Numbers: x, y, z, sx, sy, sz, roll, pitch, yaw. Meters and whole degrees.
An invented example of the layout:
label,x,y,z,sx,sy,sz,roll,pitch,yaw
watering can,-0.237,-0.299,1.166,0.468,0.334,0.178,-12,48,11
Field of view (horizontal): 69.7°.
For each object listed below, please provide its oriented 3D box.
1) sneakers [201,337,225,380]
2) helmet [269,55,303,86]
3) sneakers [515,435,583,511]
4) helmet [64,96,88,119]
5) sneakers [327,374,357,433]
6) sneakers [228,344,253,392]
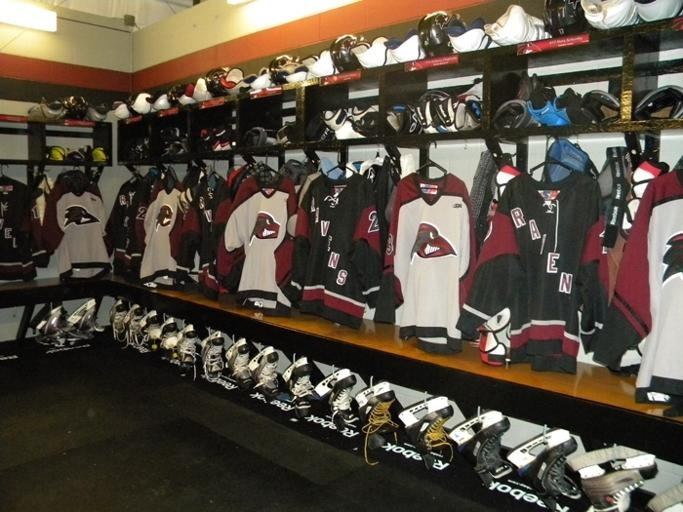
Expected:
label,x,y,z,sx,sy,sz,roll,pitch,yaw
sneakers,-1.082,0.829,4.101,0.140,0.412,0.176,2,8,-20
helmet,-0.423,-1.436,3.750,0.264,0.225,0.212,11,0,6
sneakers,1.086,1.089,2.603,0.281,0.407,0.273,-9,14,-37
helmet,-2.678,-1.503,4.943,0.172,0.231,0.084,-2,22,-14
sneakers,0.004,0.990,3.301,0.140,0.460,0.209,-14,53,-31
sneakers,-0.806,0.844,3.867,0.154,0.474,0.203,-11,17,-24
